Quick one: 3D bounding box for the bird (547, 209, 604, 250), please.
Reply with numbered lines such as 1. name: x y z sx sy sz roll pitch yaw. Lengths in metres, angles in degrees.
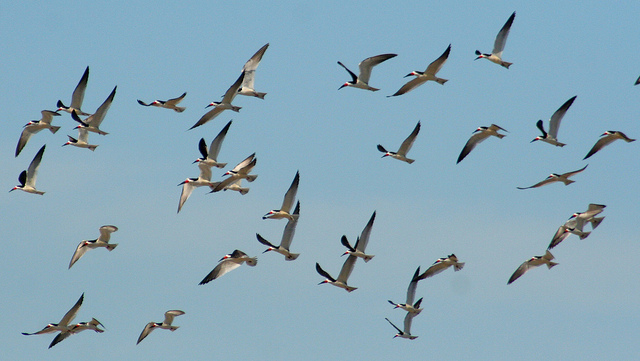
1. bird: 12.246 2.432 50.342 1.538 3.473 0.587 19 -51 50
